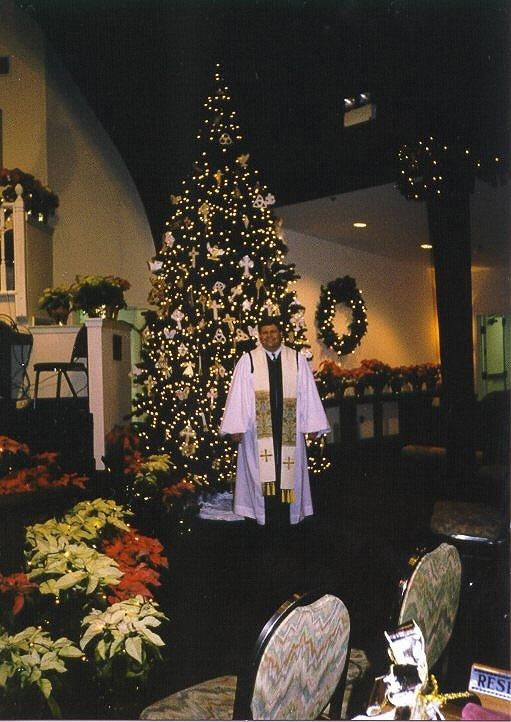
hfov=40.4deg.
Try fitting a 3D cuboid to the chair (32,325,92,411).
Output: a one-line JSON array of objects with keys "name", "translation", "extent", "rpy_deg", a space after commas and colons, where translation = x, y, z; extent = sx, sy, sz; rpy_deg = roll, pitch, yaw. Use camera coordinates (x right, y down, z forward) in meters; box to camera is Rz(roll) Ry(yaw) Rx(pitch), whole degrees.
[{"name": "chair", "translation": [-1.740, 0.030, 6.083], "extent": [0.519, 0.657, 1.328], "rpy_deg": [1, 2, -18]}]

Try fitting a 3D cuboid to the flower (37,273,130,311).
[{"name": "flower", "translation": [-1.463, -0.549, 5.820], "extent": [0.570, 0.285, 0.423], "rpy_deg": [-2, 11, 23]}]
